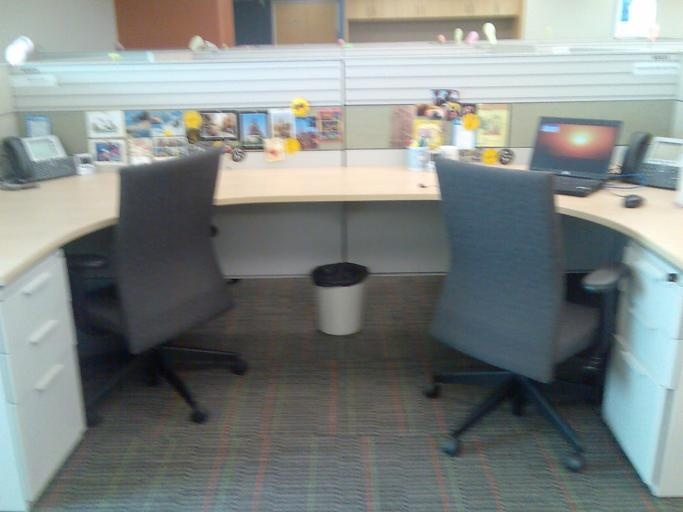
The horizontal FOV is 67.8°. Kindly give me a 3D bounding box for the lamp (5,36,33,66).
[{"bbox_3d":[-1.671,-1.066,2.648,0.136,0.124,0.054,-16,27,-24],"label":"lamp"}]

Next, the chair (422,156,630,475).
[{"bbox_3d":[0.665,0.172,1.911,0.750,0.993,0.736,-8,15,-26],"label":"chair"}]

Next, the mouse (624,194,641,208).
[{"bbox_3d":[1.204,-0.231,2.113,0.064,0.037,0.062,-1,19,6],"label":"mouse"}]

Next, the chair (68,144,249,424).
[{"bbox_3d":[-0.751,0.137,2.088,0.442,1.095,0.611,12,30,32],"label":"chair"}]

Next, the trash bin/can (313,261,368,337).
[{"bbox_3d":[-0.001,0.235,2.856,0.368,0.359,0.340,-5,14,-2],"label":"trash bin/can"}]

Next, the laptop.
[{"bbox_3d":[1.071,-0.493,2.360,0.417,0.261,0.402,14,20,28],"label":"laptop"}]
